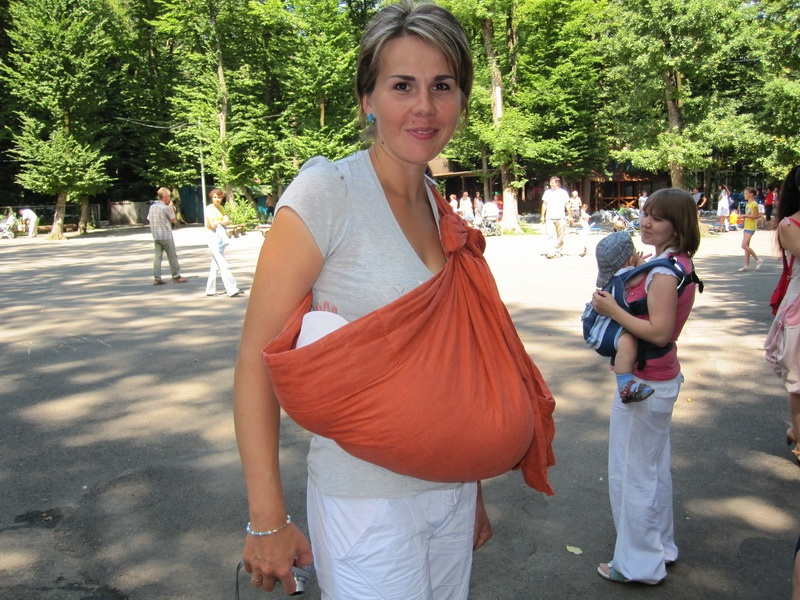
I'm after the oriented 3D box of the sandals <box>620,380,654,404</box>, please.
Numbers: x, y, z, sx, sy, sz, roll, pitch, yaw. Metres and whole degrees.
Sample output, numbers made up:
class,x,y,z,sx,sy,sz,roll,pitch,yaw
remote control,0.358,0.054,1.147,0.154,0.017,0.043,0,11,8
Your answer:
class,x,y,z,sx,sy,sz,roll,pitch,yaw
sandals,1.413,0.546,3.628,0.109,0.093,0.185,-44,23,-24

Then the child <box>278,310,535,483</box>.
class,x,y,z,sx,sy,sz,roll,pitch,yaw
child,0.037,0.287,1.897,0.666,0.337,0.564,-4,-29,3

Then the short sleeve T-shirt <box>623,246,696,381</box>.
class,x,y,z,sx,sy,sz,roll,pitch,yaw
short sleeve T-shirt,1.651,0.109,3.779,0.543,0.799,0.270,-9,14,-35

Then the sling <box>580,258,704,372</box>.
class,x,y,z,sx,sy,sz,roll,pitch,yaw
sling,1.615,0.061,3.994,0.762,0.801,0.562,6,2,24

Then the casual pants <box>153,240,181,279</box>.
class,x,y,z,sx,sy,sz,roll,pitch,yaw
casual pants,-5.713,-0.974,14.740,0.531,1.014,1.058,-5,12,-19

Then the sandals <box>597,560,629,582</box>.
class,x,y,z,sx,sy,sz,roll,pitch,yaw
sandals,1.297,1.663,3.680,0.160,0.050,0.085,18,19,15

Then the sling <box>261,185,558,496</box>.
class,x,y,z,sx,sy,sz,roll,pitch,yaw
sling,0.027,0.262,2.106,0.943,0.753,0.484,6,-3,-32
